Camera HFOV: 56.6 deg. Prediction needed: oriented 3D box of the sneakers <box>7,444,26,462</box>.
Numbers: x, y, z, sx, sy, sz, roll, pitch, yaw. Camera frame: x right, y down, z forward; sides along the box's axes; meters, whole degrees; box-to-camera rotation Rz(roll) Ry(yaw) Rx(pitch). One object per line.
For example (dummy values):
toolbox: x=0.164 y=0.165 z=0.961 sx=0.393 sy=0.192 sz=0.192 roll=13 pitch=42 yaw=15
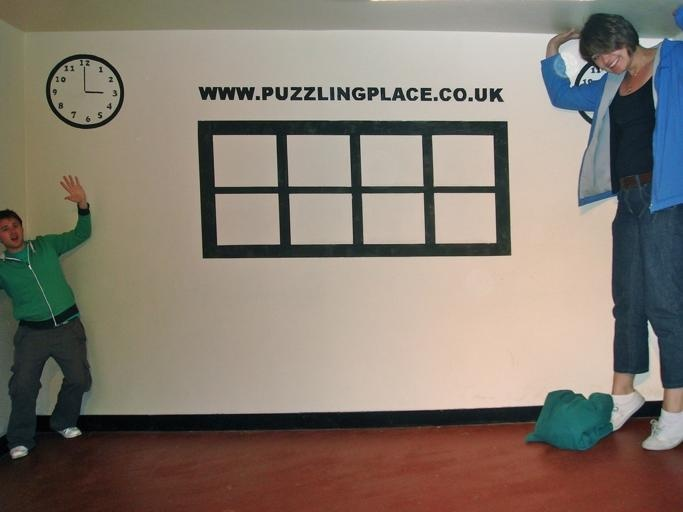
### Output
sneakers: x=-2.604 y=1.590 z=5.149 sx=0.135 sy=0.079 sz=0.085 roll=-9 pitch=14 yaw=-30

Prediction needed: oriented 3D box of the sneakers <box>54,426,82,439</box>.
sneakers: x=-2.329 y=1.508 z=5.428 sx=0.154 sy=0.067 sz=0.097 roll=0 pitch=1 yaw=15

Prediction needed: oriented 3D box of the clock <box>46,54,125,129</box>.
clock: x=-2.216 y=-1.398 z=5.502 sx=0.610 sy=0.699 sz=0.032 roll=-7 pitch=40 yaw=-29
